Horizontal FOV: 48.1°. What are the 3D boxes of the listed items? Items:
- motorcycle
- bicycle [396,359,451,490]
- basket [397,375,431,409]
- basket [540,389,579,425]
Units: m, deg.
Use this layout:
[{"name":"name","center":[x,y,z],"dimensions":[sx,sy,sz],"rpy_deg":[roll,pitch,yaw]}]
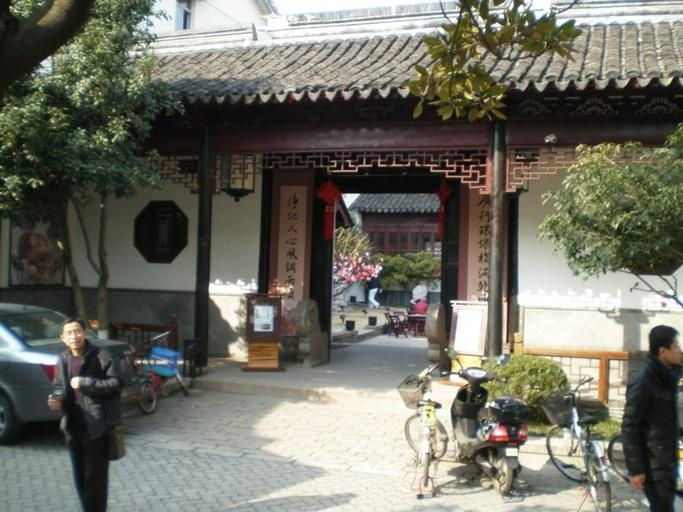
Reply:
[{"name":"motorcycle","center":[1.684,1.873,8.571],"dimensions":[0.667,1.391,1.010],"rpy_deg":[-1,10,-13]},{"name":"bicycle","center":[0.958,1.976,8.936],"dimensions":[0.556,0.841,1.408],"rpy_deg":[-1,4,4]},{"name":"basket","center":[0.850,1.563,8.949],"dimensions":[0.370,0.467,0.392],"rpy_deg":[-5,-6,35]},{"name":"basket","center":[2.559,1.786,8.967],"dimensions":[0.385,0.335,0.443],"rpy_deg":[-1,-5,-13]}]
